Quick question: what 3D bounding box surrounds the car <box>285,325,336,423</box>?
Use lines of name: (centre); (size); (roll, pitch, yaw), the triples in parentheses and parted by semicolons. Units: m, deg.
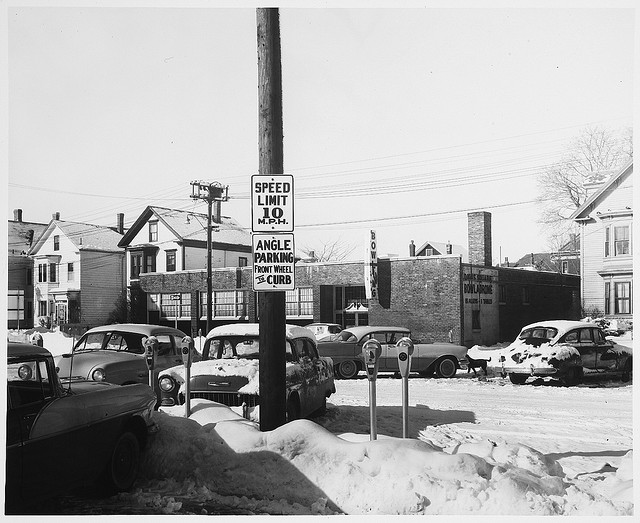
car: (-0.227, 1.939, 11.985); (0.585, 1.443, 2.379); (-2, 0, 6)

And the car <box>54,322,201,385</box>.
car: (-3.644, 1.707, 13.337); (1.270, 1.125, 2.322); (-5, -10, 27)

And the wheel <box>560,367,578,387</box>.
wheel: (5.941, 2.726, 17.019); (0.437, 0.506, 0.165); (-1, 7, -42)

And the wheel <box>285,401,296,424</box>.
wheel: (-0.443, 2.299, 11.069); (0.071, 0.300, 0.258); (-2, 1, 15)

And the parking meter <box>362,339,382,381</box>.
parking meter: (0.699, 1.355, 9.466); (0.251, 0.743, 0.274); (-4, 15, 4)

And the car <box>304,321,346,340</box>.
car: (0.273, 2.435, 27.273); (0.775, 0.733, 1.980); (2, 5, 28)

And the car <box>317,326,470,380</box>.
car: (2.103, 2.555, 19.794); (4.150, 1.609, 1.927); (-1, -10, 18)

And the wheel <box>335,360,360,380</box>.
wheel: (0.732, 2.907, 19.148); (0.398, 0.486, 0.143); (3, -2, 3)

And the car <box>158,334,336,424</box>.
car: (-1.090, 2.003, 12.645); (2.136, 1.887, 4.070); (-2, -4, 11)

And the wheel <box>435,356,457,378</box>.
wheel: (3.324, 2.784, 18.875); (0.458, 0.551, 0.162); (3, 3, -17)

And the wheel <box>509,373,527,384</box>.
wheel: (4.882, 2.945, 17.699); (0.257, 0.218, 0.286); (-1, -10, 10)

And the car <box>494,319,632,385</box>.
car: (6.316, 2.247, 17.575); (3.557, 1.537, 2.942); (-1, -7, -39)

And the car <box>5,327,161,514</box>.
car: (-2.857, 1.872, 8.318); (1.123, 1.077, 2.140); (-1, 0, 33)

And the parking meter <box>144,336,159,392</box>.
parking meter: (-2.679, 1.777, 11.359); (0.191, 1.117, 0.258); (2, 0, 0)
